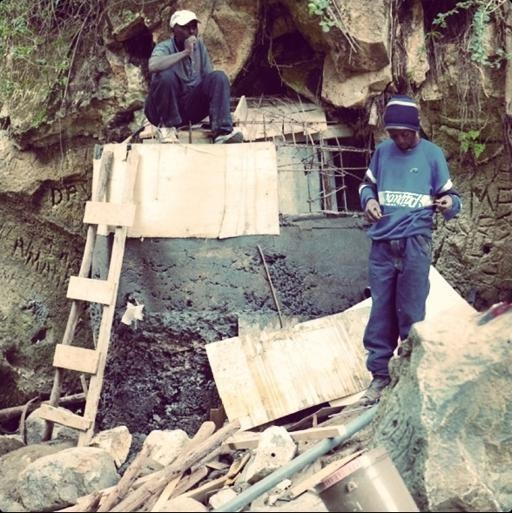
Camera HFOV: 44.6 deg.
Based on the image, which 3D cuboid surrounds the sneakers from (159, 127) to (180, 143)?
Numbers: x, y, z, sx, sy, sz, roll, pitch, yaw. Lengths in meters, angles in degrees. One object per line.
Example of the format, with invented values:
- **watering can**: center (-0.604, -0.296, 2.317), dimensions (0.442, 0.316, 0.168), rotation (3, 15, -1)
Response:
- **sneakers**: center (-0.787, -1.094, 5.710), dimensions (0.134, 0.154, 0.165), rotation (0, -10, -20)

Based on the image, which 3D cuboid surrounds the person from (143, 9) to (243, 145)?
- **person**: center (-0.588, -1.701, 5.888), dimensions (0.797, 1.249, 1.143), rotation (-9, 14, -41)

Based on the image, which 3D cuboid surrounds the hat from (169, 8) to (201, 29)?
- **hat**: center (-0.680, -2.143, 5.710), dimensions (0.201, 0.115, 0.287), rotation (-6, 17, -14)

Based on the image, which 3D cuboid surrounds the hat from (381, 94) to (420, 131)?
- **hat**: center (0.961, -0.989, 4.220), dimensions (0.237, 0.240, 0.213), rotation (-1, 15, -30)

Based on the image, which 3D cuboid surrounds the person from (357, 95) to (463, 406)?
- **person**: center (1.044, -0.092, 4.258), dimensions (0.650, 1.921, 0.706), rotation (-1, 18, 9)
